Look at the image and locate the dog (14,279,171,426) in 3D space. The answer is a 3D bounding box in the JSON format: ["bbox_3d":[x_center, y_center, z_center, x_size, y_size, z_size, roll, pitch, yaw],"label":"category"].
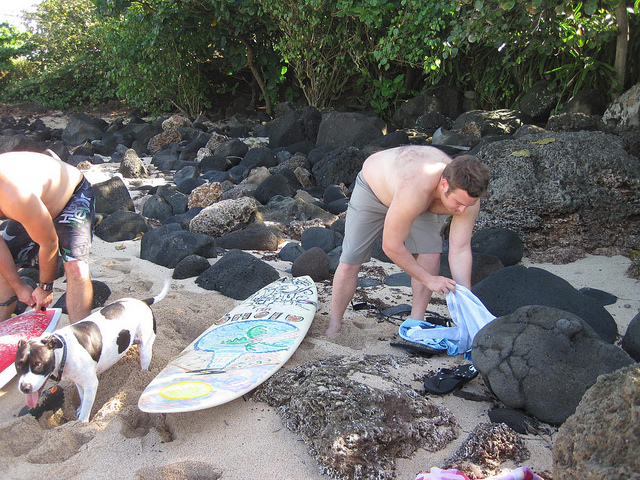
[{"bbox_3d":[-1.641,0.873,4.534,0.371,0.754,1.553,10,19,23],"label":"dog"}]

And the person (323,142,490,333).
[{"bbox_3d":[0.786,0.070,5.284,1.001,1.985,1.433,-16,50,-13],"label":"person"}]

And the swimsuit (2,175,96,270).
[{"bbox_3d":[-2.113,-0.093,4.911,0.678,0.814,0.241,-2,31,19],"label":"swimsuit"}]
